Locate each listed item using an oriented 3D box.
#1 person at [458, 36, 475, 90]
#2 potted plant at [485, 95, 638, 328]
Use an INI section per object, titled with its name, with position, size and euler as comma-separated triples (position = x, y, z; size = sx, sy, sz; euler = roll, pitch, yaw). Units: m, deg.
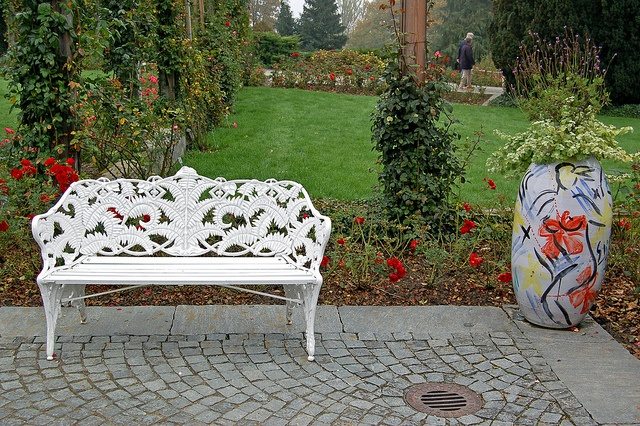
[person]
position = 4.263, -4.435, 17.503
size = 0.481, 1.577, 0.960
euler = 5, 19, 12
[potted plant]
position = 2.280, 0.122, 5.837
size = 1.004, 1.951, 0.691
euler = 11, 21, 26
